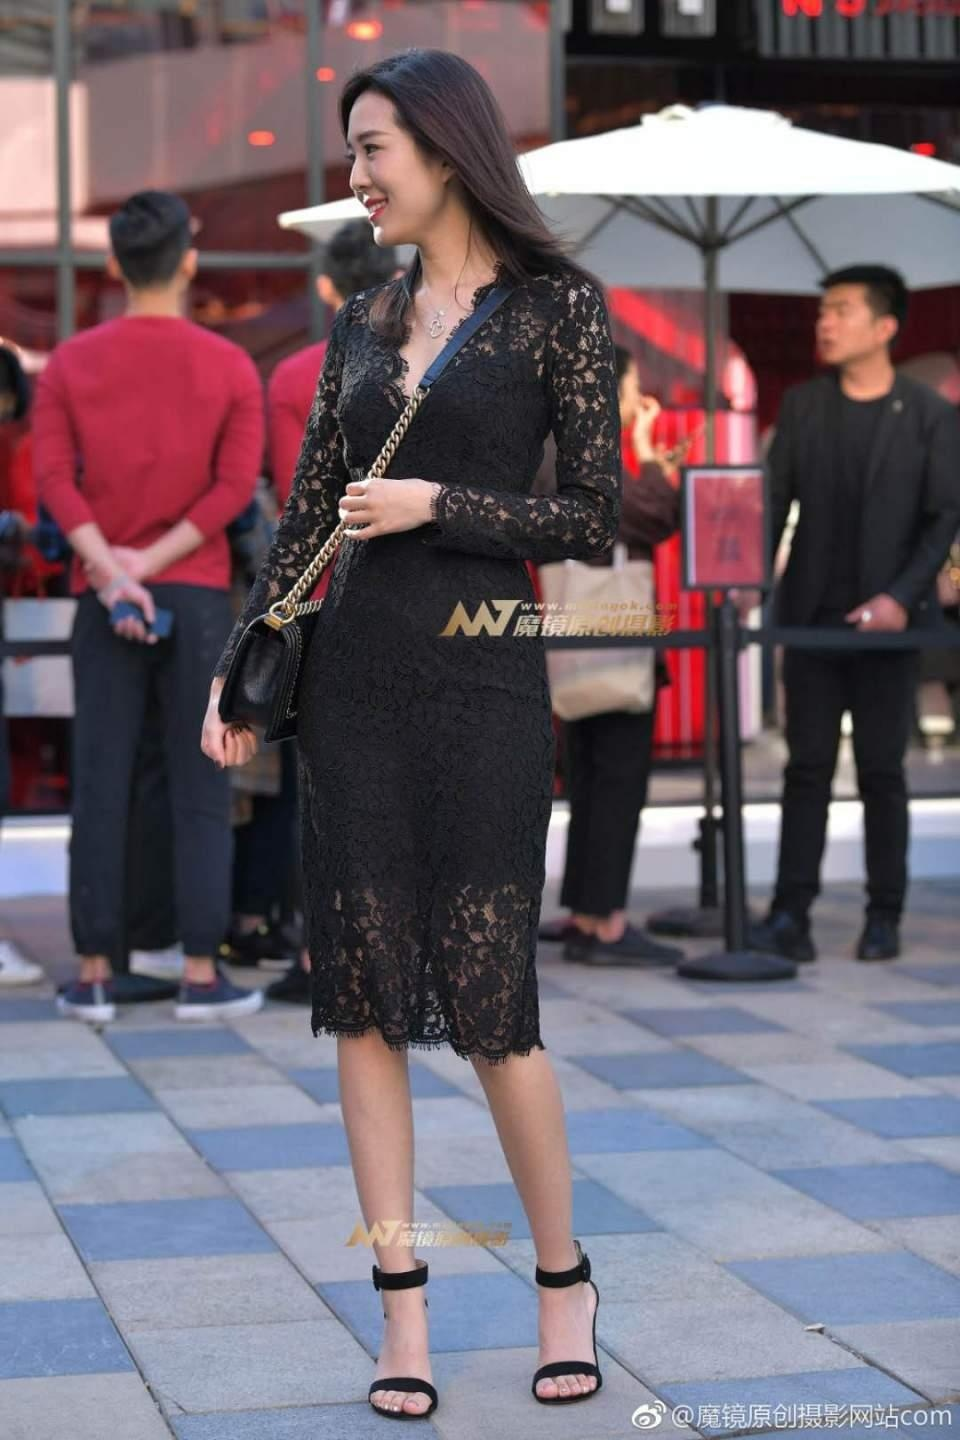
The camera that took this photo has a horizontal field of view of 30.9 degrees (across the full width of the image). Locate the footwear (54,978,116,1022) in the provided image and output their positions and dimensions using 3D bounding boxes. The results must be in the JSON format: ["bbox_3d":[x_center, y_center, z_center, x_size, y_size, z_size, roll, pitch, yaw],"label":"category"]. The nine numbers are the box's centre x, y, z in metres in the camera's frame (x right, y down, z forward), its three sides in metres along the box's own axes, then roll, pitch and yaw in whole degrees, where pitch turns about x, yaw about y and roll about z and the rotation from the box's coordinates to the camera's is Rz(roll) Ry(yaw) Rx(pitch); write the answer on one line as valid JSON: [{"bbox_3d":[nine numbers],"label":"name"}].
[{"bbox_3d":[-0.995,0.697,4.367,0.079,0.076,0.186,1,8,-26],"label":"footwear"}]

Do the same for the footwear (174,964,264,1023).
[{"bbox_3d":[-0.675,0.711,4.468,0.095,0.099,0.258,-3,-2,42],"label":"footwear"}]

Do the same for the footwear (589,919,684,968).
[{"bbox_3d":[0.466,0.679,5.185,0.300,0.115,0.107,1,-1,0],"label":"footwear"}]

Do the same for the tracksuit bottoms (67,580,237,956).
[{"bbox_3d":[-0.821,0.260,4.475,0.299,0.603,0.171,-5,-8,27],"label":"tracksuit bottoms"}]

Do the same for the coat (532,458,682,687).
[{"bbox_3d":[0.373,-0.476,5.042,0.285,0.601,0.612,13,-1,-41],"label":"coat"}]
